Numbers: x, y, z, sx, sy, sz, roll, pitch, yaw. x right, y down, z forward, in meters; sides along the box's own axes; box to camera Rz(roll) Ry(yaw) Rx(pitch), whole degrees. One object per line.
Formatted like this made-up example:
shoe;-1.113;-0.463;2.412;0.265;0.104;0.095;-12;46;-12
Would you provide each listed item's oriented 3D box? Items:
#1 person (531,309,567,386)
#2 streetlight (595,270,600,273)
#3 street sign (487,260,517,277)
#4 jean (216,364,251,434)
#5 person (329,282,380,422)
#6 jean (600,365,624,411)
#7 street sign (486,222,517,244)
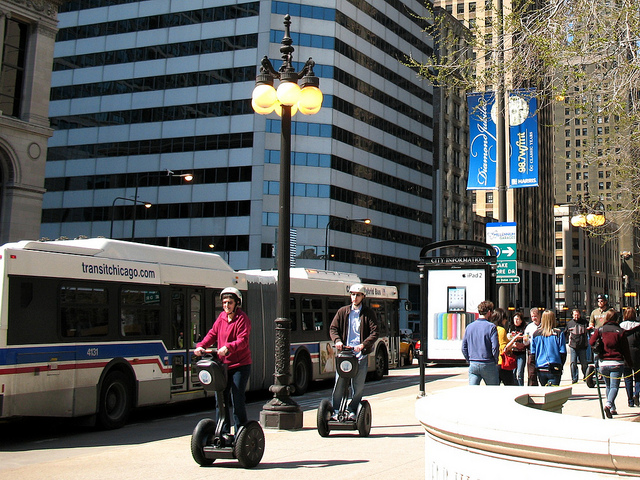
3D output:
person;5.277;2.502;16.935;0.786;1.747;0.992;4;-6;17
streetlight;57.648;6.545;152.087;0.656;0.327;0.895;0;-7;4
street sign;4.964;0.764;19.428;0.523;0.504;0.473;5;-6;11
jean;-1.300;2.447;11.256;0.466;1.023;0.512;1;-7;-2
person;0.586;2.017;13.123;0.856;2.495;1.417;5;-6;4
jean;6.119;3.115;15.382;0.389;0.994;0.438;7;-6;-14
street sign;4.764;-0.179;19.237;0.760;0.634;0.824;5;-6;12
